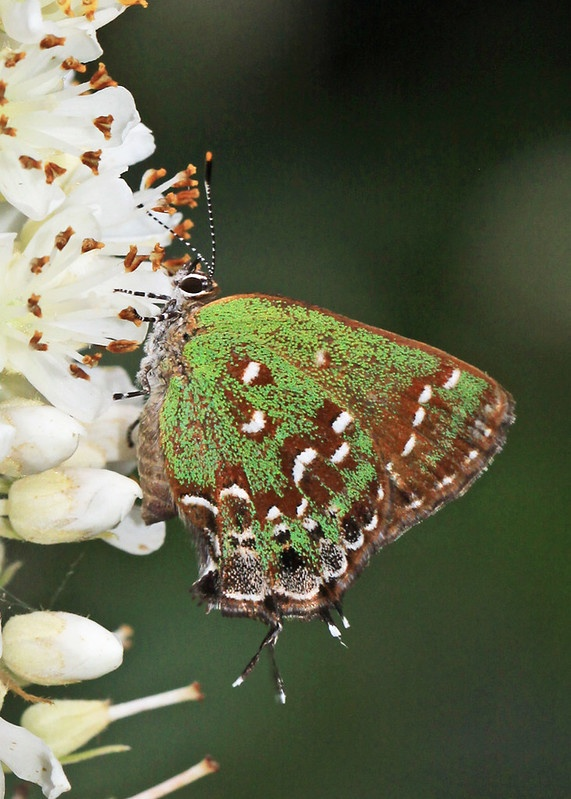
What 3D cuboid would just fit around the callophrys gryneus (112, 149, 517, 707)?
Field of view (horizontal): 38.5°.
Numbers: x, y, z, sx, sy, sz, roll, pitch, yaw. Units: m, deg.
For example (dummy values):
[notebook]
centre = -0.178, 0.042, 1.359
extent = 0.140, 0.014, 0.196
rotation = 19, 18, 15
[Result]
[callophrys gryneus]
centre = 0.085, 0.138, 2.102
extent = 0.990, 1.242, 0.886
rotation = -12, 47, -6
